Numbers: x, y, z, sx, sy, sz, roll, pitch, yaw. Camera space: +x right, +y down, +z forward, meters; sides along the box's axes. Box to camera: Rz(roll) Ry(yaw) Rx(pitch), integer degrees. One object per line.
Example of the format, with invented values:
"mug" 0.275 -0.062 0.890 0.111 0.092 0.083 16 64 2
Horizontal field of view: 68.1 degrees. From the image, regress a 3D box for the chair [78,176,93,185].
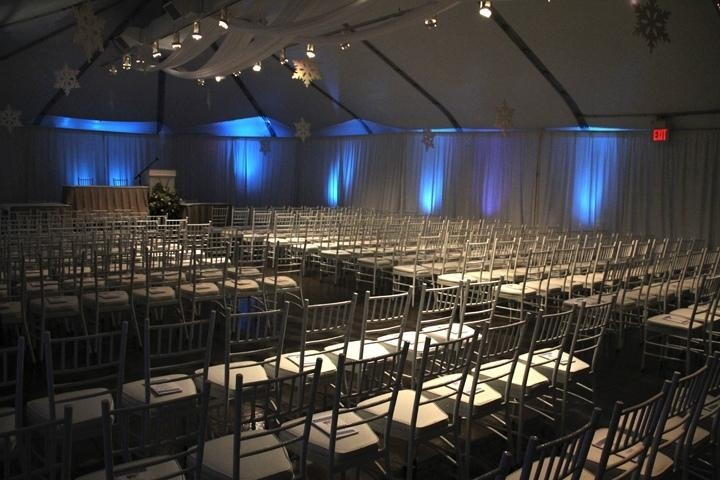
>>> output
"chair" -9.004 -1.958 17.550 0.467 0.232 0.541 -3 7 -28
